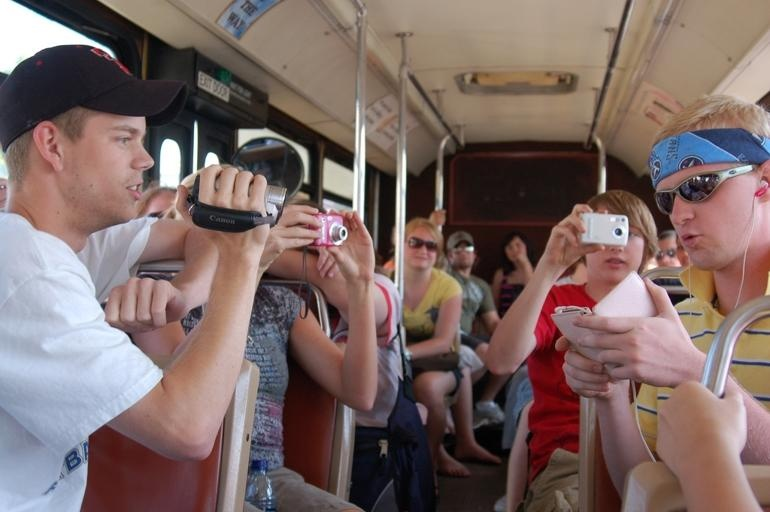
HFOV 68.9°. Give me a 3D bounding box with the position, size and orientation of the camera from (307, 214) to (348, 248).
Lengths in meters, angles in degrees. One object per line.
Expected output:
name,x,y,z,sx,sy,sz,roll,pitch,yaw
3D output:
camera,-0.227,-0.102,2.225,0.096,0.121,0.173,-3,-4,32

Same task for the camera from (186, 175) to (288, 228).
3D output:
camera,-0.443,-0.136,1.678,0.235,0.087,0.170,6,38,-2

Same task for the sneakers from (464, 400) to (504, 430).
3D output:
sneakers,0.932,1.469,5.183,0.167,0.202,0.488,7,-15,-40
